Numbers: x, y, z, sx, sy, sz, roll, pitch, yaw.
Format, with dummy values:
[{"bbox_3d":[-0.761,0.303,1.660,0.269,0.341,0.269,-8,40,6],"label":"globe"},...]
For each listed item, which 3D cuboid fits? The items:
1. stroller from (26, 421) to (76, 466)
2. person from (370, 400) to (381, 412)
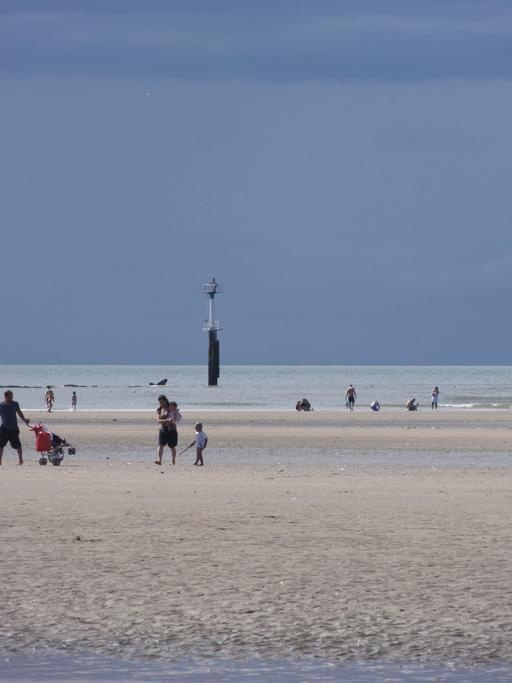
[{"bbox_3d":[-3.531,1.743,29.328,0.857,0.972,0.570,-2,4,6],"label":"stroller"},{"bbox_3d":[4.331,2.457,63.374,0.266,0.379,0.965,-14,5,2],"label":"person"}]
